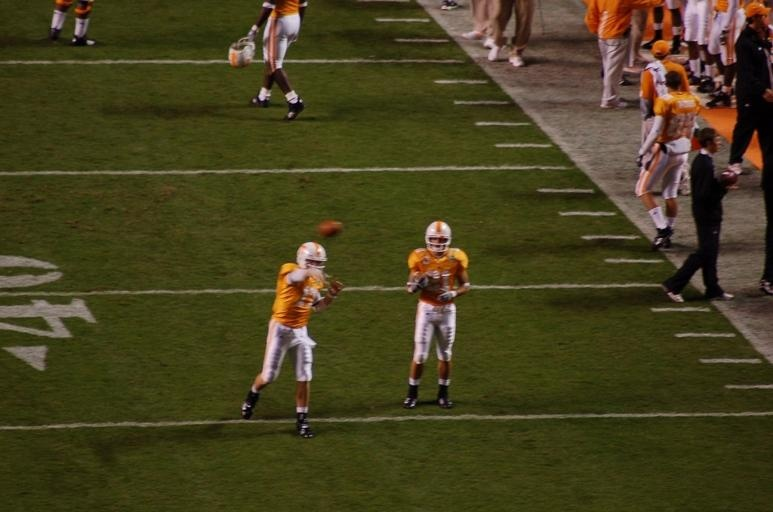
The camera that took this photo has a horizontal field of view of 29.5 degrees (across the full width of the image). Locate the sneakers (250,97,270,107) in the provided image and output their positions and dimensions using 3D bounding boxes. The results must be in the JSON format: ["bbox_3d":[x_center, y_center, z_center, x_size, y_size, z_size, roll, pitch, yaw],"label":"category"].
[{"bbox_3d":[-1.944,-2.213,21.301,0.391,0.073,0.204,1,-6,-19],"label":"sneakers"}]

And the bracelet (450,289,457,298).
[{"bbox_3d":[0.664,0.396,15.270,0.099,0.055,0.065,2,36,-6],"label":"bracelet"}]

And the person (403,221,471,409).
[{"bbox_3d":[0.482,0.626,15.364,0.633,1.981,0.650,5,24,0],"label":"person"}]

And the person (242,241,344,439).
[{"bbox_3d":[-1.005,0.841,15.057,0.923,1.964,0.836,6,23,3],"label":"person"}]

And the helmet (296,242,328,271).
[{"bbox_3d":[-0.692,-0.010,15.056,0.362,0.253,0.347,2,15,-14],"label":"helmet"}]

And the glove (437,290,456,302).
[{"bbox_3d":[0.620,0.424,15.267,0.187,0.116,0.066,-11,27,-36],"label":"glove"}]

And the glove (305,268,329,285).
[{"bbox_3d":[-0.719,0.212,14.854,0.246,0.055,0.143,14,-14,16],"label":"glove"}]

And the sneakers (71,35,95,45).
[{"bbox_3d":[-4.879,-3.372,23.277,0.464,0.095,0.231,-2,1,-11],"label":"sneakers"}]

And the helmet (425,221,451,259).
[{"bbox_3d":[0.516,-0.185,15.277,0.252,0.336,0.282,4,21,0],"label":"helmet"}]

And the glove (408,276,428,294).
[{"bbox_3d":[0.315,0.300,15.243,0.205,0.195,0.069,-1,24,-11],"label":"glove"}]

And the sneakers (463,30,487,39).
[{"bbox_3d":[1.451,-3.617,24.243,0.454,0.100,0.134,1,-26,7],"label":"sneakers"}]

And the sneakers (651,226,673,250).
[{"bbox_3d":[3.372,-0.212,17.959,0.254,0.372,0.115,2,59,1],"label":"sneakers"}]

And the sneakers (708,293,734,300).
[{"bbox_3d":[3.915,0.485,17.113,0.350,0.097,0.090,-3,25,4],"label":"sneakers"}]

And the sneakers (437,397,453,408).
[{"bbox_3d":[0.604,1.539,15.466,0.123,0.049,0.184,-1,3,-14],"label":"sneakers"}]

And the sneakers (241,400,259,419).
[{"bbox_3d":[-1.467,1.595,15.287,0.124,0.205,0.112,13,18,-15],"label":"sneakers"}]

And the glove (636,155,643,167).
[{"bbox_3d":[3.149,-1.165,18.304,0.069,0.096,0.094,9,6,-7],"label":"glove"}]

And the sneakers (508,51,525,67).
[{"bbox_3d":[2.040,-3.071,23.264,0.207,0.090,0.289,-6,17,-8],"label":"sneakers"}]
